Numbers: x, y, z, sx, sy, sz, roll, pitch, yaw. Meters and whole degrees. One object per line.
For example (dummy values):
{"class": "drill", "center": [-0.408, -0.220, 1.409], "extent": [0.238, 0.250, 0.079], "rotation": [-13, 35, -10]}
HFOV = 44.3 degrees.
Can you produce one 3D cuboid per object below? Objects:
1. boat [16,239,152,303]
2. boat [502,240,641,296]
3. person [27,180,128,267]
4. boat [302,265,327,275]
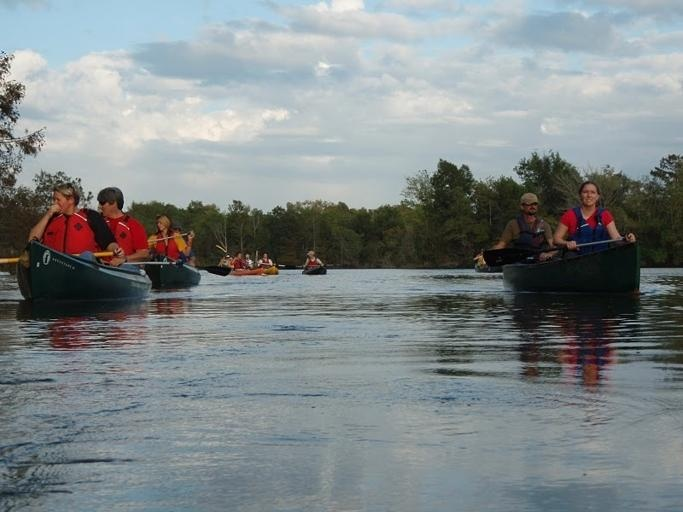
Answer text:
{"class": "boat", "center": [-4.423, 0.421, 14.794], "extent": [1.459, 0.728, 2.792], "rotation": [2, -10, 29]}
{"class": "boat", "center": [4.389, 0.300, 16.417], "extent": [0.933, 0.853, 3.369], "rotation": [1, -6, -34]}
{"class": "person", "center": [-4.409, -0.587, 13.825], "extent": [1.408, 1.232, 0.859], "rotation": [-2, 6, -17]}
{"class": "boat", "center": [-1.450, 0.777, 46.595], "extent": [1.162, 0.635, 2.018], "rotation": [0, 5, 4]}
